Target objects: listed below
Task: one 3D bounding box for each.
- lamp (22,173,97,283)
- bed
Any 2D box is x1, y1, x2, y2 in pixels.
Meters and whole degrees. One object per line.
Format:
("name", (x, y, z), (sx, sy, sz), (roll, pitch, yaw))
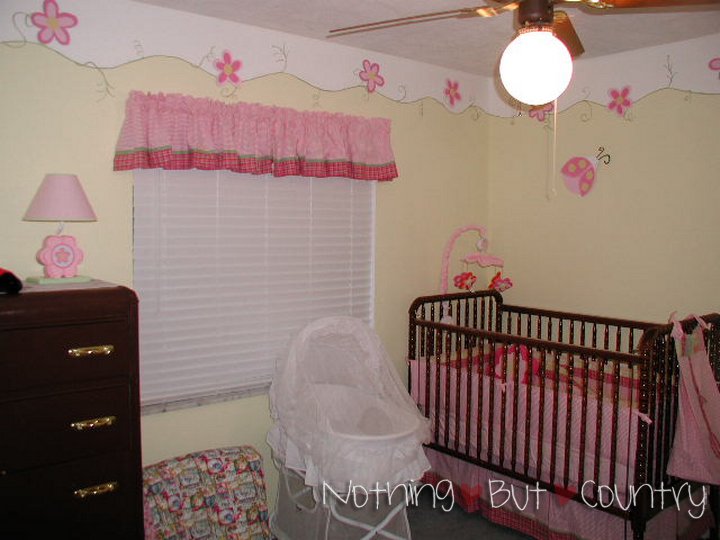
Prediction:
("lamp", (-1.458, -0.220, 2.662), (0.282, 0.510, 0.381), (-3, 7, -32))
("bed", (1.251, 0.844, 3.608), (1.270, 1.300, 1.844), (-4, 7, -38))
